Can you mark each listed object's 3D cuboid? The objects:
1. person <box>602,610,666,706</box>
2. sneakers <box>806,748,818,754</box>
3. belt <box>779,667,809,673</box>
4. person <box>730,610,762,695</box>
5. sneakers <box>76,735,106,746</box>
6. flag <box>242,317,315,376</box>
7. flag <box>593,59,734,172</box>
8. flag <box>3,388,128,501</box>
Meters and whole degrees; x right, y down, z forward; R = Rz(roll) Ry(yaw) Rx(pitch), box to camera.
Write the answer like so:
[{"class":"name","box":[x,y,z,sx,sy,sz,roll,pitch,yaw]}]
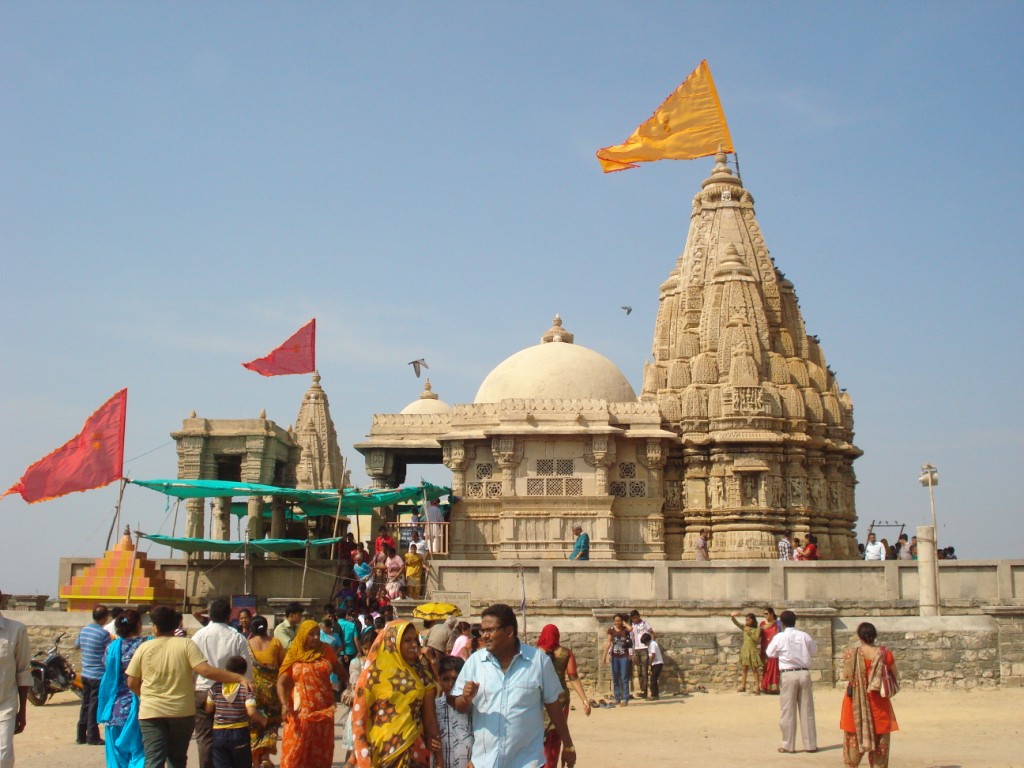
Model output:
[{"class":"person","box":[2.197,4.911,33.308,0.744,1.709,1.485,-5,-13,24]},{"class":"sneakers","box":[4.452,5.476,27.686,0.258,0.090,0.145,11,-16,-43]},{"class":"belt","box":[4.140,4.242,27.578,0.378,0.071,0.219,-2,-12,11]},{"class":"person","box":[4.202,4.859,33.473,0.507,1.420,0.964,-1,-12,3]},{"class":"sneakers","box":[-6.300,5.350,27.800,0.393,0.174,0.130,0,-6,-4]},{"class":"flag","box":[-4.298,-0.501,35.565,1.390,1.296,0.112,0,-27,1]},{"class":"flag","box":[3.812,-6.345,43.990,3.144,2.943,0.516,7,-14,-30]},{"class":"flag","box":[-7.514,1.279,32.910,2.198,1.656,0.304,-3,-2,25]}]
